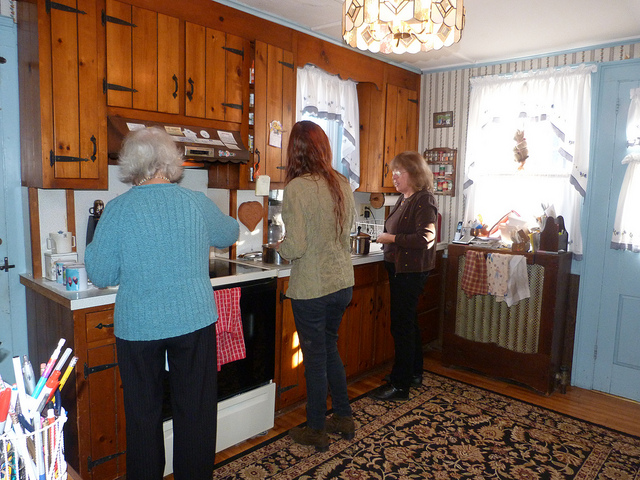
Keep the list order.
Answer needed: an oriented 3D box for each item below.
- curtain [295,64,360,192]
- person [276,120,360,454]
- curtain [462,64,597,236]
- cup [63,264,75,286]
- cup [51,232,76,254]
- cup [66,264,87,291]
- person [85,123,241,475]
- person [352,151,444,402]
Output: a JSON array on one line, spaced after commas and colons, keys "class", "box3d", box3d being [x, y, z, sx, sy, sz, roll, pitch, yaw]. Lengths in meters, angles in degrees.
[{"class": "curtain", "box3d": [0.051, -0.998, 4.119, 0.733, 0.856, 0.088, -3, 4, -42]}, {"class": "person", "box3d": [-0.005, 0.319, 2.928, 0.486, 2.017, 0.290, 2, 10, 3]}, {"class": "curtain", "box3d": [1.776, -0.741, 4.269, 1.043, 1.537, 0.154, 5, 9, 36]}, {"class": "cup", "box3d": [-1.379, 0.198, 2.728, 0.091, 0.108, 0.094, 1, 1, 0]}, {"class": "cup", "box3d": [-1.499, 0.009, 2.847, 0.090, 0.104, 0.114, -1, -3, 38]}, {"class": "cup", "box3d": [-1.319, 0.205, 2.645, 0.104, 0.136, 0.116, -4, 12, -28]}, {"class": "person", "box3d": [-0.731, 0.330, 2.311, 0.652, 1.694, 0.270, -4, 11, -27]}, {"class": "person", "box3d": [0.818, 0.241, 4.031, 0.421, 1.893, 1.358, 6, 11, 26]}]
